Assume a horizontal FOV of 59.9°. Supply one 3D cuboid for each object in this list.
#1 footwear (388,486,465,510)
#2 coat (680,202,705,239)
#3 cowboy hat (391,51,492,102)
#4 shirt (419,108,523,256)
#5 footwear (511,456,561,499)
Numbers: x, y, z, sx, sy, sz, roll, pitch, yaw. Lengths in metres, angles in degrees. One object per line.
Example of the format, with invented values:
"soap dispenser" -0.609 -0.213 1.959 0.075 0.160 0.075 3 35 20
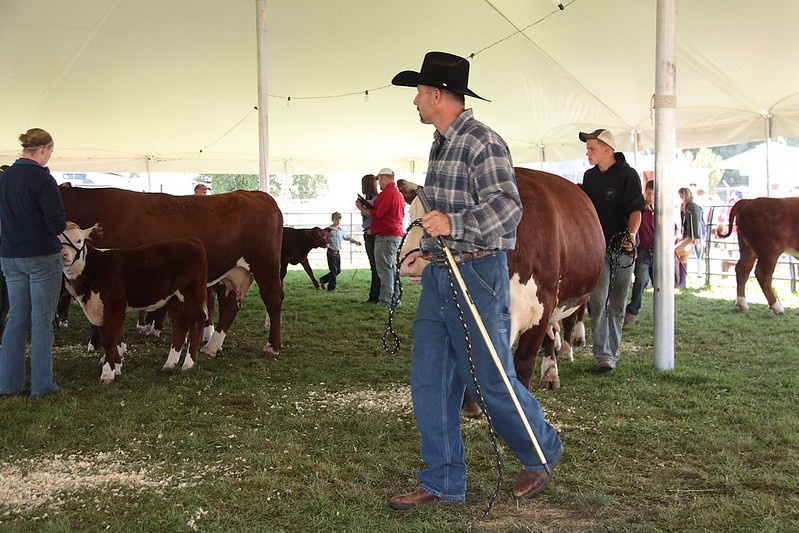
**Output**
"footwear" 0.217 1.847 5.665 0.583 0.257 0.202 6 -11 0
"coat" 5.978 -0.926 14.106 0.372 0.685 0.694 -12 8 -1
"cowboy hat" 0.324 -1.527 5.562 0.591 0.234 0.498 19 9 -6
"shirt" 0.562 -0.704 5.384 0.771 0.995 0.538 3 12 13
"footwear" 1.142 1.711 5.682 0.430 0.170 0.170 -33 2 -36
